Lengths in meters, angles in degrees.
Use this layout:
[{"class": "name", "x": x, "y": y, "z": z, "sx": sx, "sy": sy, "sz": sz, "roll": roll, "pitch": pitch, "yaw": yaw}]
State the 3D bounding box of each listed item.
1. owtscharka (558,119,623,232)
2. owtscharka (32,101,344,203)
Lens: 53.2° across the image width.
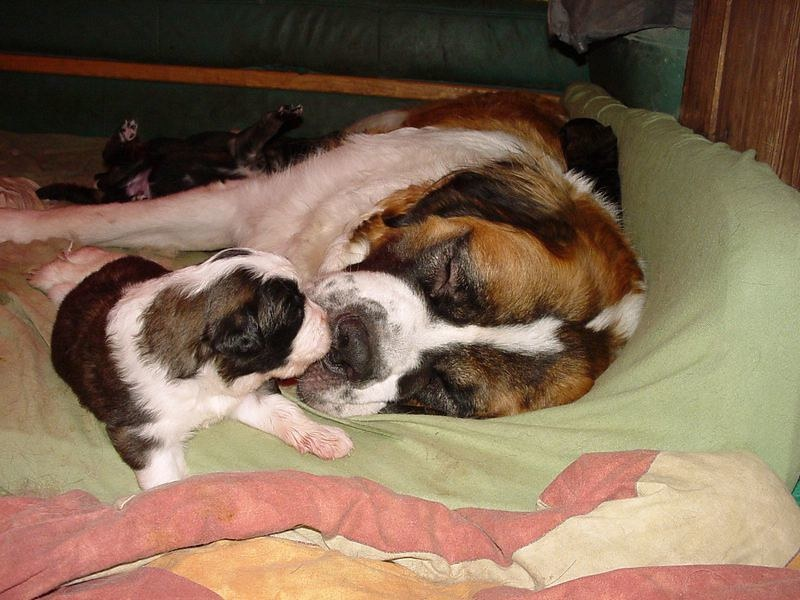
[{"class": "owtscharka", "x": 1.144, "y": -0.754, "z": 4.601, "sx": 0.400, "sy": 0.515, "sz": 0.229, "roll": -13, "pitch": -24, "yaw": 9}, {"class": "owtscharka", "x": -1.265, "y": -0.864, "z": 4.949, "sx": 1.504, "sy": 0.366, "sz": 0.894, "roll": 4, "pitch": 15, "yaw": 24}]
